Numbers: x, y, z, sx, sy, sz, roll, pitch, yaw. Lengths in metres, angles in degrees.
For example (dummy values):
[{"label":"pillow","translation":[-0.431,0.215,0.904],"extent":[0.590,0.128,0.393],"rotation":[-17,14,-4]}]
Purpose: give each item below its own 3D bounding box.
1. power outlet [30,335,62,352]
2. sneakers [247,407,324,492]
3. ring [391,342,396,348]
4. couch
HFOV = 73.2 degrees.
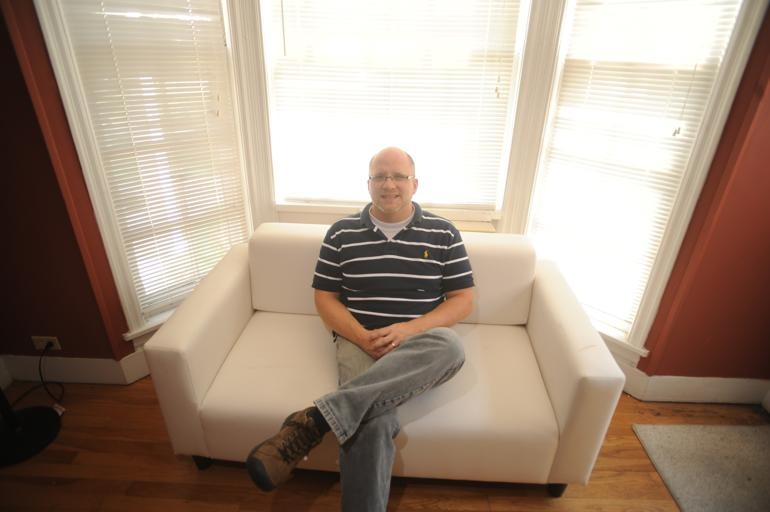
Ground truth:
[{"label":"power outlet","translation":[-2.062,0.528,3.162],"extent":[0.129,0.091,0.014],"rotation":[4,11,-12]},{"label":"sneakers","translation":[-0.417,0.894,2.640],"extent":[0.238,0.212,0.585],"rotation":[-17,11,20]},{"label":"ring","translation":[0.045,0.463,2.682],"extent":[0.030,0.022,0.016],"rotation":[-5,30,-14]},{"label":"couch","translation":[0.003,0.549,3.046],"extent":[2.253,1.059,1.214],"rotation":[4,30,4]}]
